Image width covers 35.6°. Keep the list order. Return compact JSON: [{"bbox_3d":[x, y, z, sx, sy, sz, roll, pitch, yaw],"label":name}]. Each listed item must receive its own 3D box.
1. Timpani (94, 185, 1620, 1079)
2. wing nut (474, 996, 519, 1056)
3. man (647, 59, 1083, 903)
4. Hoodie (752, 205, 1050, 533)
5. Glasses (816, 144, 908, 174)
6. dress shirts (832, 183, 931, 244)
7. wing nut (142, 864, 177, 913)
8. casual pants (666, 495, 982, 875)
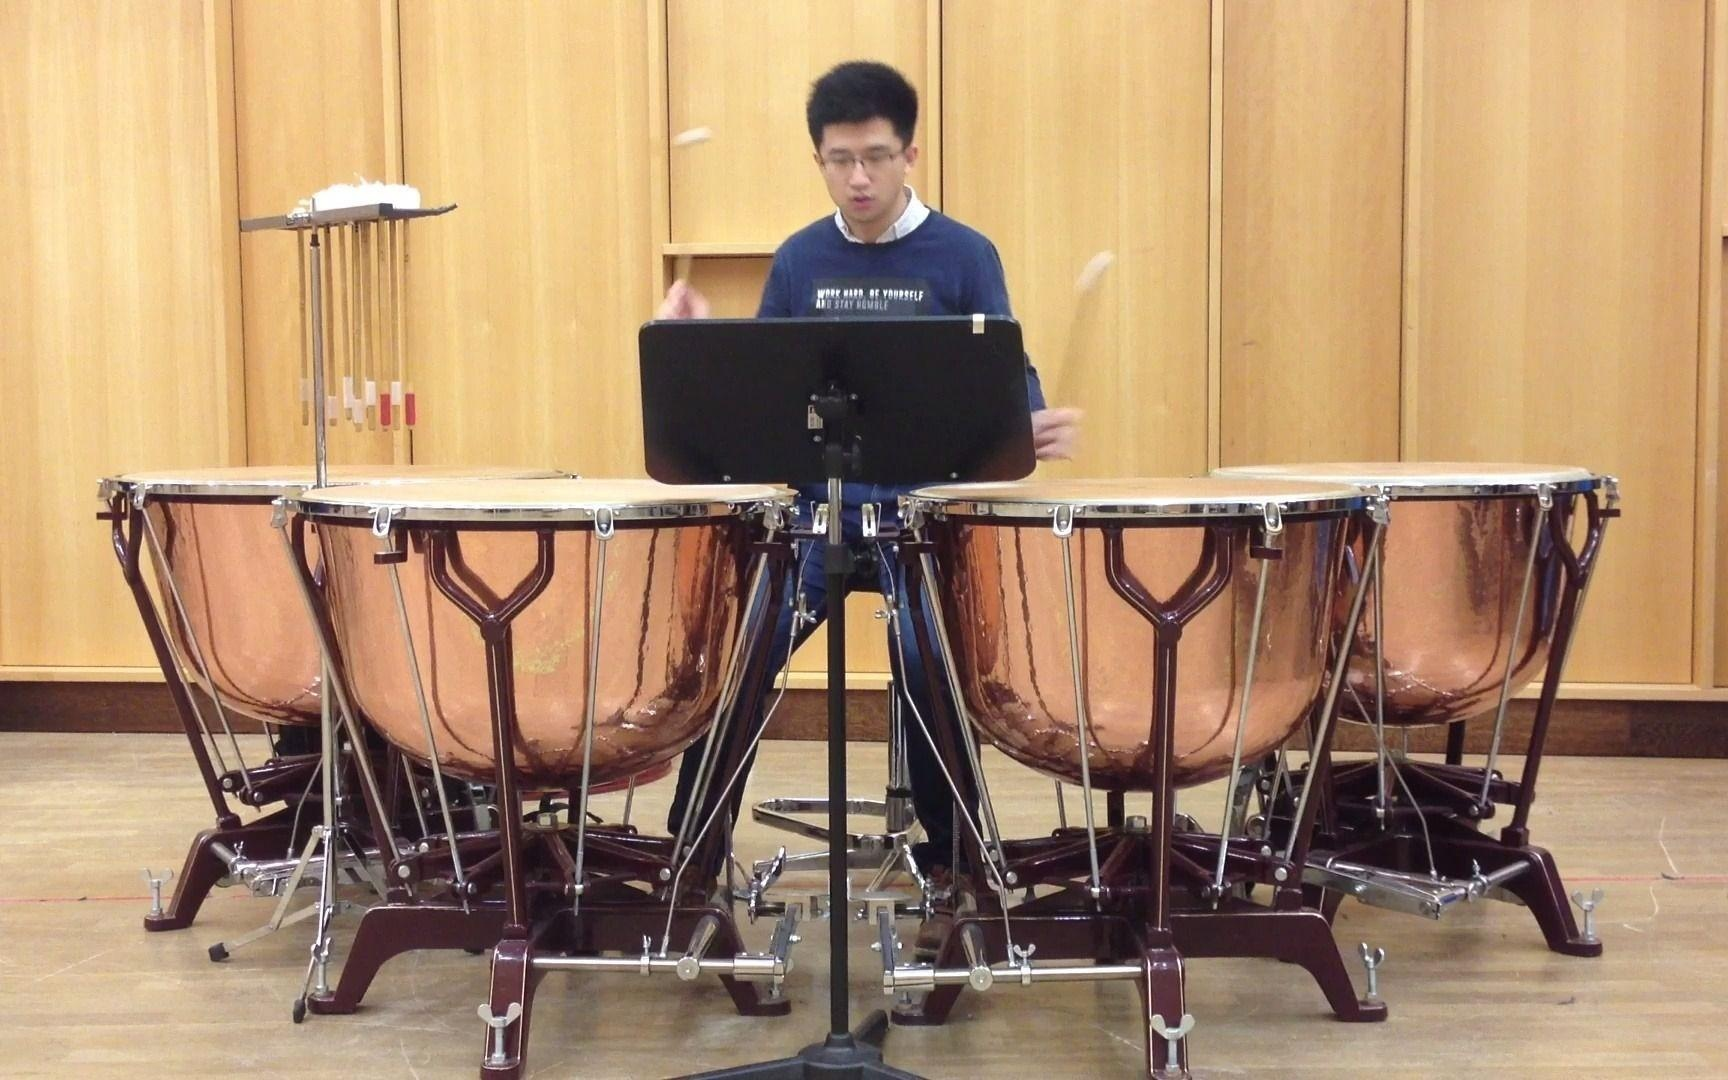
[{"bbox_3d":[0.066,0.321,6.101,2.256,1.706,0.864,-2,12,8],"label":"Timpani"},{"bbox_3d":[-0.828,1.092,6.026,0.143,0.154,0.045,1,-8,-7],"label":"wing nut"},{"bbox_3d":[-0.020,-0.116,6.703,1.210,2.141,0.836,5,11,18],"label":"man"},{"bbox_3d":[0.052,-0.440,6.754,1.004,0.818,0.326,-2,2,12],"label":"Hoodie"},{"bbox_3d":[-0.007,-0.916,6.503,0.197,0.056,0.083,-6,12,-14],"label":"Glasses"},{"bbox_3d":[0.089,-0.793,6.671,0.164,0.052,0.174,1,35,11],"label":"dress shirts"},{"bbox_3d":[-1.746,0.862,6.614,0.102,0.164,0.065,0,-10,-8],"label":"wing nut"},{"bbox_3d":[-0.013,0.366,6.591,0.909,1.154,0.862,2,10,4],"label":"casual pants"}]
